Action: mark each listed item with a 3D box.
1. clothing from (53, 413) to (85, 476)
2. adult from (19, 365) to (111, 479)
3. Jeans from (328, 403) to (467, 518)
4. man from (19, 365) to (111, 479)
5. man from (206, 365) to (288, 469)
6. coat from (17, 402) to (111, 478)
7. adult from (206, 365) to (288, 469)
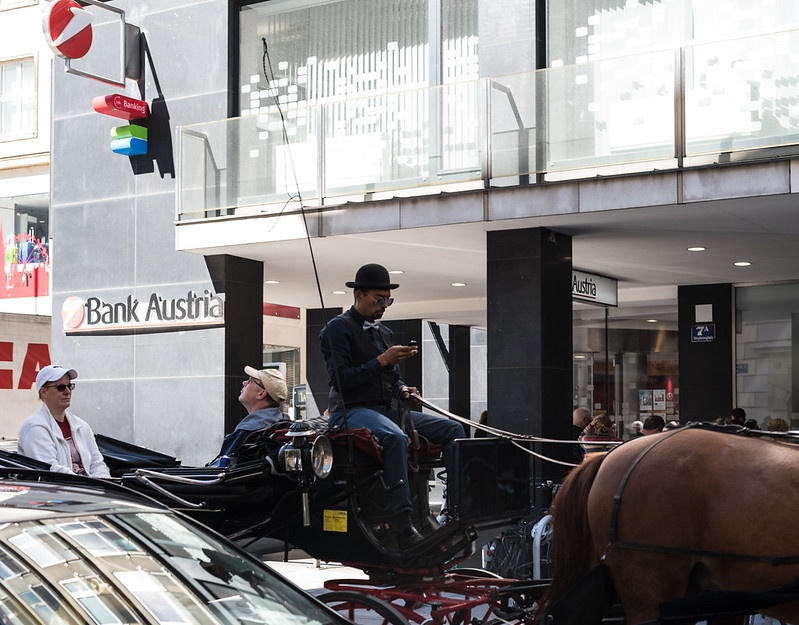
[{"bbox_3d":[-3.184,1.277,13.734,0.191,0.459,0.325,-29,-8,38],"label":"clothing"},{"bbox_3d":[-3.296,1.139,13.995,0.867,1.263,0.833,1,-9,-21],"label":"adult"},{"bbox_3d":[0.049,1.422,14.206,1.011,0.894,1.546,-6,5,-28],"label":"Jeans"},{"bbox_3d":[-3.280,1.136,13.990,0.876,1.269,0.834,4,-10,-39],"label":"man"},{"bbox_3d":[-1.472,1.039,14.710,0.627,0.998,1.066,10,4,-8],"label":"man"},{"bbox_3d":[-3.271,1.331,13.994,0.633,0.881,0.828,-20,-17,38],"label":"coat"},{"bbox_3d":[-1.476,1.037,14.701,0.623,1.001,1.098,11,4,-7],"label":"adult"}]
